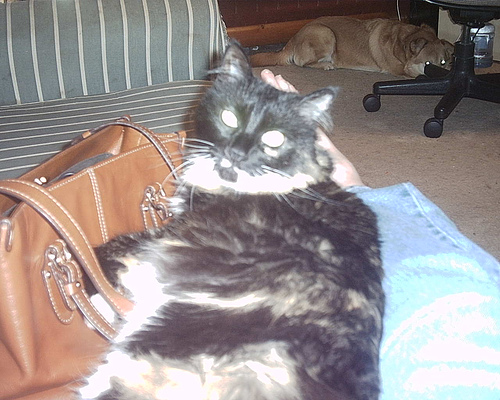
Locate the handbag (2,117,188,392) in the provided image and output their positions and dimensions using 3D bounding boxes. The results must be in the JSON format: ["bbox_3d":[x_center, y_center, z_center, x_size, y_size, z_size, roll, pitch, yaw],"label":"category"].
[{"bbox_3d":[-0.194,0.078,0.589,0.155,0.191,0.294,9,30,15],"label":"handbag"}]

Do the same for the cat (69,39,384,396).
[{"bbox_3d":[-0.030,0.071,0.646,0.375,0.138,0.454,7,64,-24],"label":"cat"}]
